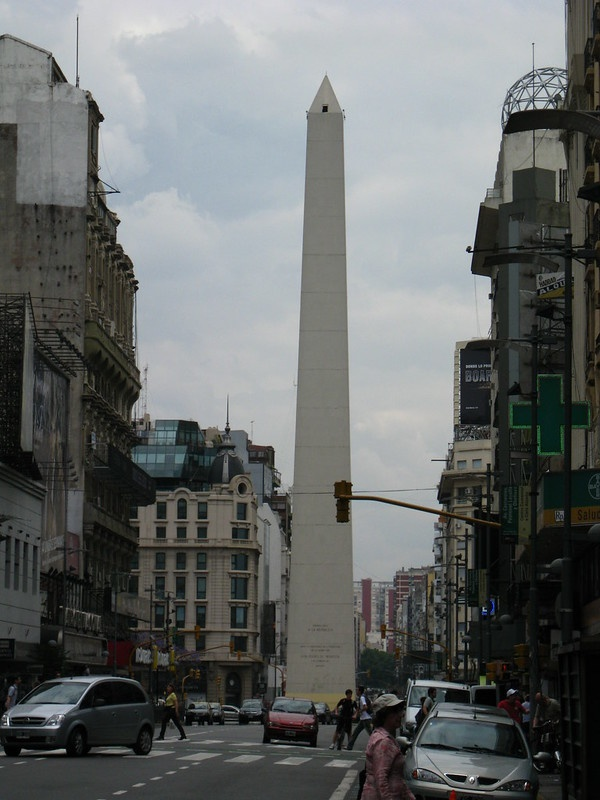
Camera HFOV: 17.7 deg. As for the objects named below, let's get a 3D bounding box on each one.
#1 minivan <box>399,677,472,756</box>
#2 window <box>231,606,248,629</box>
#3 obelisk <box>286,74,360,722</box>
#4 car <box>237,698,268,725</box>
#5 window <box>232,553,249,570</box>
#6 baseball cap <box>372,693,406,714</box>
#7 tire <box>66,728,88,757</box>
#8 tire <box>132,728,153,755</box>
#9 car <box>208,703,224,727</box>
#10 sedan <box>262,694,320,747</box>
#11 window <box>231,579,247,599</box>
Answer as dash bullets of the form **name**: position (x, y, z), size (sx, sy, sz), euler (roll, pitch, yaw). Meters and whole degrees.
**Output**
- **minivan**: position (3.200, 7.376, 44.032), size (1.774, 1.085, 0.985), euler (18, -7, -17)
- **window**: position (-4.490, 15.716, 141.615), size (1.228, 1.851, 0.110), euler (7, -9, -43)
- **obelisk**: position (1.084, -1.222, 98.280), size (2.920, 32.028, 2.243), euler (-1, -8, 1)
- **car**: position (-2.286, 14.655, 93.929), size (1.267, 1.696, 2.975), euler (-1, -16, 1)
- **window**: position (-4.470, 11.777, 143.548), size (0.065, 1.161, 0.997), euler (-6, -10, 35)
- **baseball cap**: position (1.064, 3.637, 23.549), size (0.270, 0.171, 0.202), euler (-27, -18, 24)
- **tire**: position (-4.367, 6.597, 37.785), size (0.177, 0.636, 0.540), euler (-9, -9, 26)
- **tire**: position (-3.295, 7.028, 40.287), size (0.153, 0.610, 0.530), euler (-7, -17, 21)
- **car**: position (-3.933, 14.569, 91.243), size (0.548, 0.705, 1.313), euler (-1, -21, -1)
- **sedan**: position (-0.256, 8.613, 52.425), size (1.461, 1.353, 3.058), euler (0, -11, -1)
- **window**: position (-4.497, 13.732, 142.394), size (0.167, 1.605, 1.157), euler (-6, -7, 42)
